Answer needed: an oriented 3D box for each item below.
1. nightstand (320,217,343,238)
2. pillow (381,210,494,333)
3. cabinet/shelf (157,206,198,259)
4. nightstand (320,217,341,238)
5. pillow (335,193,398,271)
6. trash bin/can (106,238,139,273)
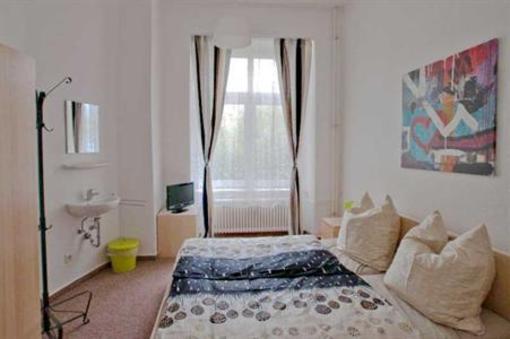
[{"bbox_3d":[1.123,0.849,5.446,0.240,0.367,0.469,1,-1,-3],"label":"nightstand"},{"bbox_3d":[1.814,0.972,3.879,0.848,1.096,1.206,-2,5,-22],"label":"pillow"},{"bbox_3d":[-1.151,0.959,5.745,0.593,0.660,0.612,0,4,1],"label":"cabinet/shelf"},{"bbox_3d":[1.105,0.861,5.434,0.235,0.341,0.451,1,-1,-4],"label":"nightstand"},{"bbox_3d":[1.336,0.759,4.340,0.383,0.678,0.668,27,-9,-20],"label":"pillow"},{"bbox_3d":[-1.813,1.168,5.162,0.425,0.493,0.410,-1,3,-12],"label":"trash bin/can"}]
